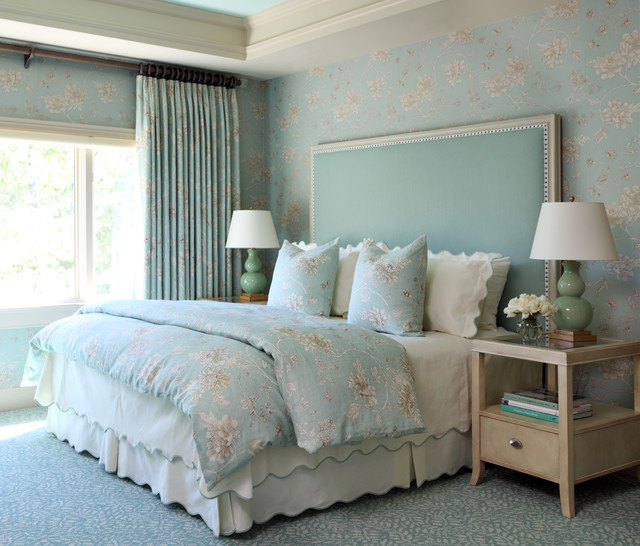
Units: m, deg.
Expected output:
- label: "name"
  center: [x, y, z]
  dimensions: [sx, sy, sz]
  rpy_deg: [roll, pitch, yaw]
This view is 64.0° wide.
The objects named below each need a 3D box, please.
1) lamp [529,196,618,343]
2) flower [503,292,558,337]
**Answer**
- label: "lamp"
  center: [1.208, -0.007, 2.472]
  dimensions: [0.368, 0.676, 0.304]
  rpy_deg: [0, 2, 3]
- label: "flower"
  center: [1.015, 0.219, 2.517]
  dimensions: [0.228, 0.238, 0.234]
  rpy_deg: [0, -1, -9]
